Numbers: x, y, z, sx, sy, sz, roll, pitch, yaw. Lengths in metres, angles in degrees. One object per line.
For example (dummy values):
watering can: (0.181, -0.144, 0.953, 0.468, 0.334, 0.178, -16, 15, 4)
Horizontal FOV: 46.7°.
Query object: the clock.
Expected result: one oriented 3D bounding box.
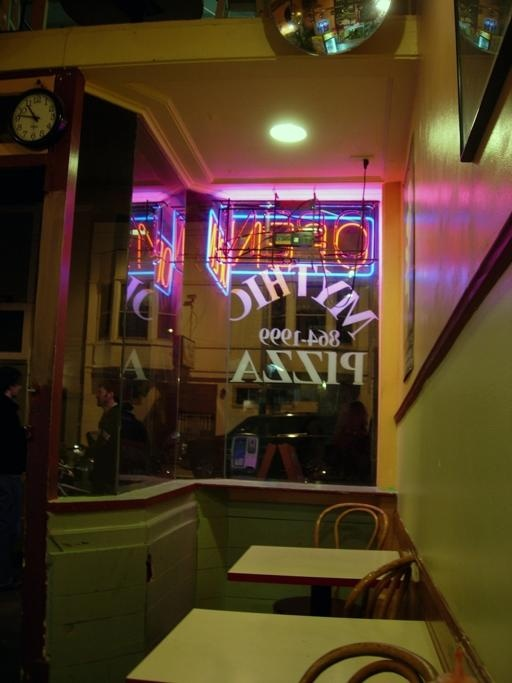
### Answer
clock: (-1.111, -1.128, 2.994, 0.316, 0.322, 0.105, 3, 0, 31)
